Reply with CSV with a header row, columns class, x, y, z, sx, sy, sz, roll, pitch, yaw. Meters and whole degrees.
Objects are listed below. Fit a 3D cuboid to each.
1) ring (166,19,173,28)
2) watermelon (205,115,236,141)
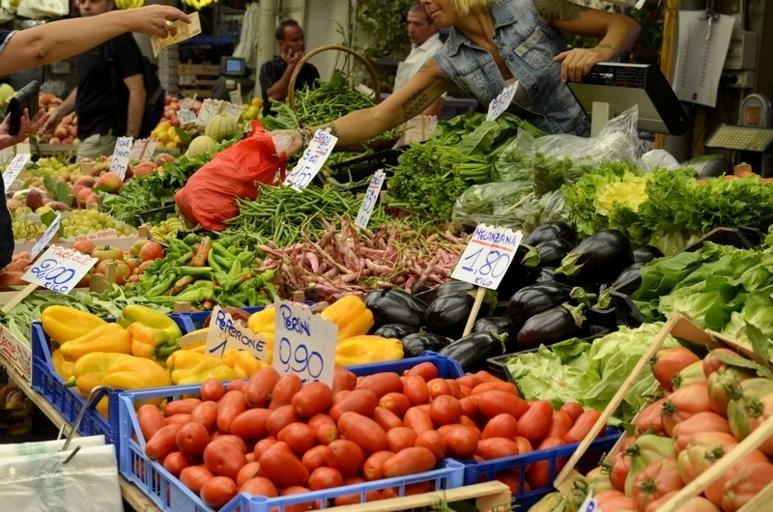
class,x,y,z,sx,sy,sz,roll,pitch,yaw
ring,-1.693,-1.832,4.695,0.040,0.010,0.041,-11,-18,-4
watermelon,-2.297,-1.832,8.540,0.449,0.377,0.343,-9,23,-9
